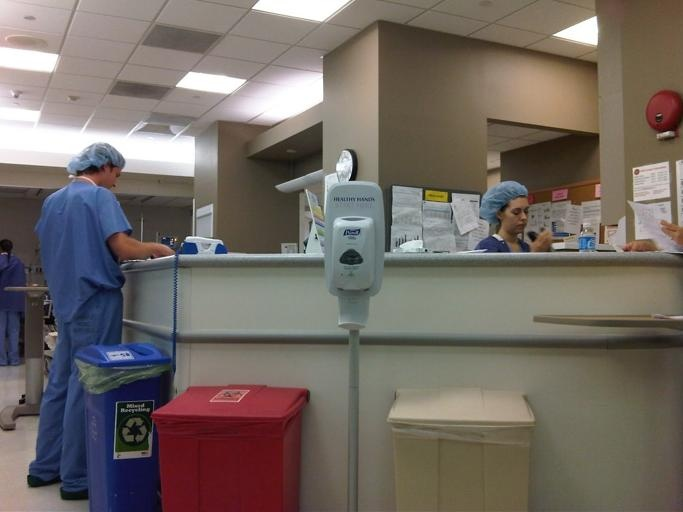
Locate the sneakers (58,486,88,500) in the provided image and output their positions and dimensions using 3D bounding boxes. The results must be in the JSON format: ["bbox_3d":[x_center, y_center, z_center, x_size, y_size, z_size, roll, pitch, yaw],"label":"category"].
[{"bbox_3d":[-1.536,1.373,3.512,0.168,0.070,0.060,5,-5,-7],"label":"sneakers"}]

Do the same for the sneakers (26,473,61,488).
[{"bbox_3d":[-1.811,1.360,3.696,0.202,0.083,0.073,4,-4,-21],"label":"sneakers"}]
